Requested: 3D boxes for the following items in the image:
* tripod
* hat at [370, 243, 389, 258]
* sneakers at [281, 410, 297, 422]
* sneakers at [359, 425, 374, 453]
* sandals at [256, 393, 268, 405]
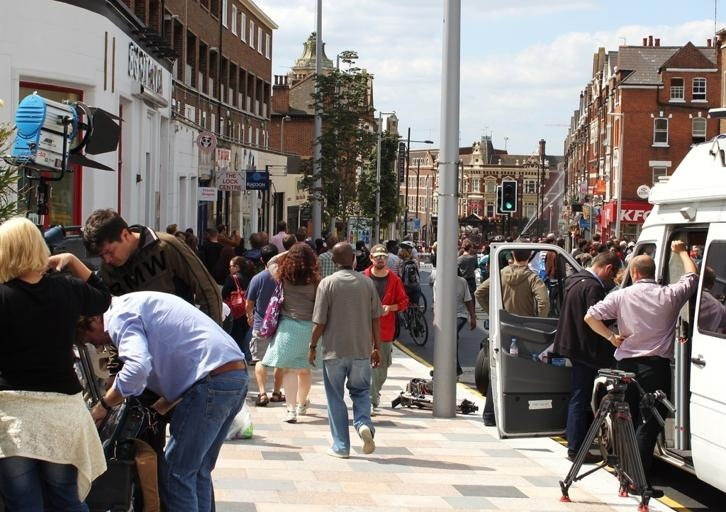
[{"bbox_3d":[2.469,1.839,9.087,1.178,1.644,1.275,2,-6,-33],"label":"tripod"},{"bbox_3d":[0.228,-0.068,12.516,0.149,0.126,0.215,7,-16,1],"label":"hat"},{"bbox_3d":[-0.968,2.064,11.393,0.249,0.183,0.090,2,1,42],"label":"sneakers"},{"bbox_3d":[0.040,1.997,9.710,0.123,0.364,0.147,-9,10,-1],"label":"sneakers"},{"bbox_3d":[-1.417,2.004,12.218,0.102,0.127,0.288,0,-11,-11],"label":"sandals"}]
